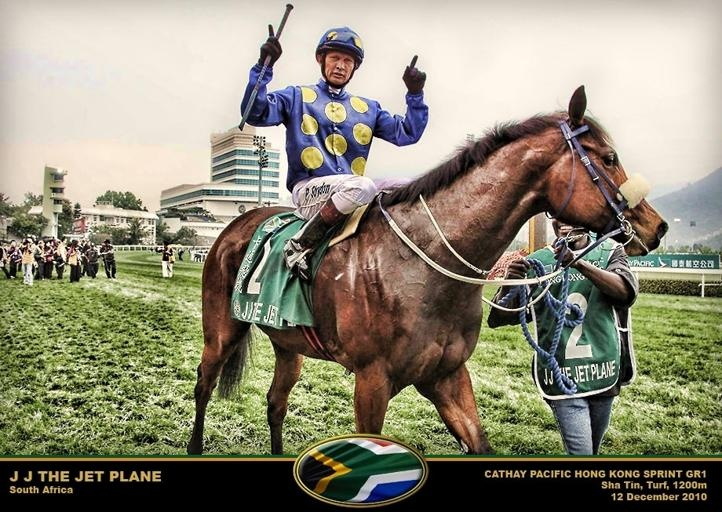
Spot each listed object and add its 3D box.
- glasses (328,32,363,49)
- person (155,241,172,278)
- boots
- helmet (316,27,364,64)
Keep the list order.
[{"bbox_3d":[-0.116,-1.672,5.053,0.236,0.148,0.068,1,5,-8],"label":"glasses"},{"bbox_3d":[-3.349,0.039,11.290,0.243,0.567,0.772,0,6,-17],"label":"person"},{"bbox_3d":[-0.346,-0.137,4.982,0.364,0.656,0.198,31,-1,-4],"label":"boots"},{"bbox_3d":[-0.172,-1.712,5.195,0.361,0.247,0.462,10,4,-16],"label":"helmet"}]
